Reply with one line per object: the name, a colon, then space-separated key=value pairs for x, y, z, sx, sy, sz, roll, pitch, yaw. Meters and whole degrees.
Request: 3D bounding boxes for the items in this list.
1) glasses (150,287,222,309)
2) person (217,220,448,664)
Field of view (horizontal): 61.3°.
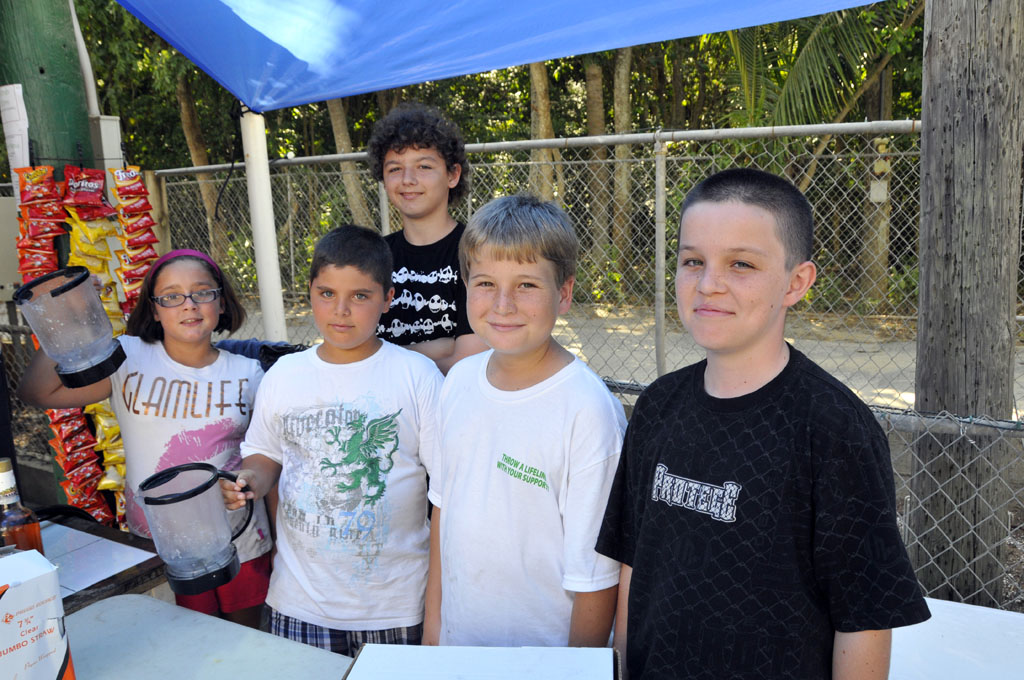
glasses: x=-1.321 y=-0.171 z=3.519 sx=0.246 sy=0.058 sz=0.077 roll=-8 pitch=16 yaw=-22
person: x=-0.694 y=0.647 z=3.250 sx=0.857 sy=2.006 sz=0.705 roll=1 pitch=11 yaw=-6
